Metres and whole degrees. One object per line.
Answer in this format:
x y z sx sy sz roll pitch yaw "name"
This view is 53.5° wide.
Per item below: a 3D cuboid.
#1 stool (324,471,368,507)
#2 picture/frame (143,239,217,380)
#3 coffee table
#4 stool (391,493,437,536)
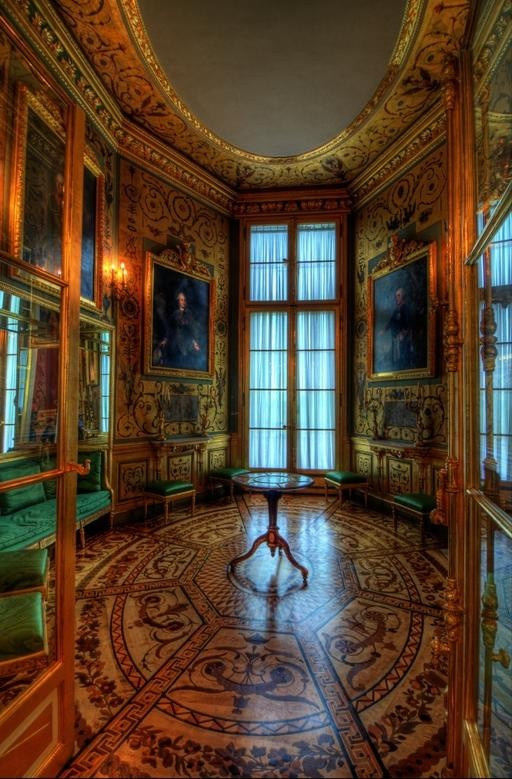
0.922 0.904 5.019 0.309 0.322 0.449 -1 1 -9 "stool"
-0.796 -0.801 5.137 0.114 1.726 1.395 0 -3 23 "picture/frame"
0.105 0.929 3.433 0.548 0.642 0.552 5 -23 -2 "coffee table"
1.197 0.955 3.860 0.297 0.298 0.399 1 1 19 "stool"
